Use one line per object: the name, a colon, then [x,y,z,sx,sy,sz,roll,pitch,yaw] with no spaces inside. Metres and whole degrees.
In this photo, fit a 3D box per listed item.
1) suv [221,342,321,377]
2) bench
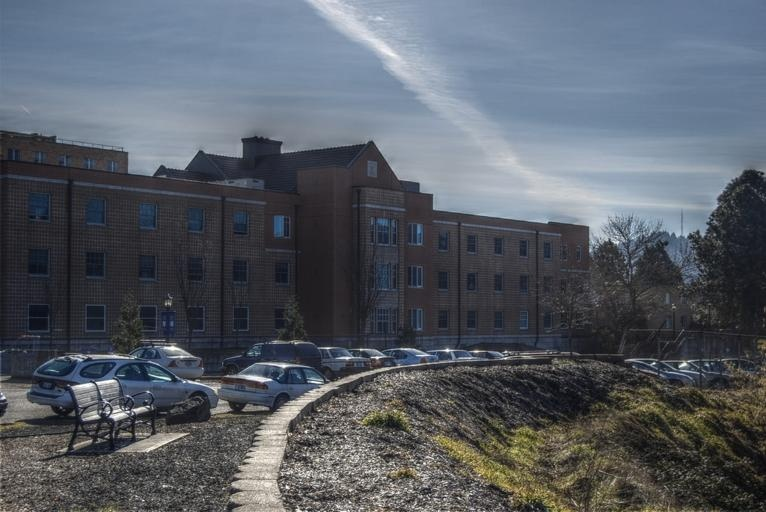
suv: [-5.858,5.376,58.316,4.546,1.889,2.240,2,-3,12]
bench: [-10.145,5.829,39.256,1.942,2.606,3.879,-3,-9,21]
